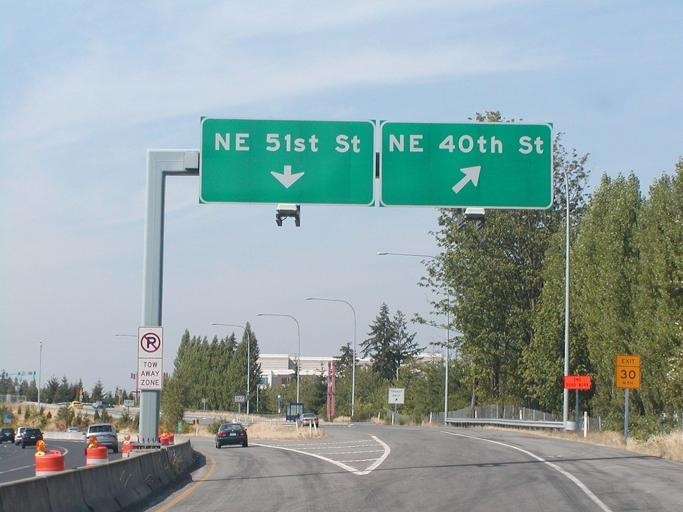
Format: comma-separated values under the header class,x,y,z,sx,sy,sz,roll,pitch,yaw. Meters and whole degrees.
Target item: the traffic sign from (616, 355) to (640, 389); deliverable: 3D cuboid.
class,x,y,z,sx,sy,sz,roll,pitch,yaw
traffic sign,15.052,6.141,71.976,1.275,2.101,0.203,-2,-41,15
